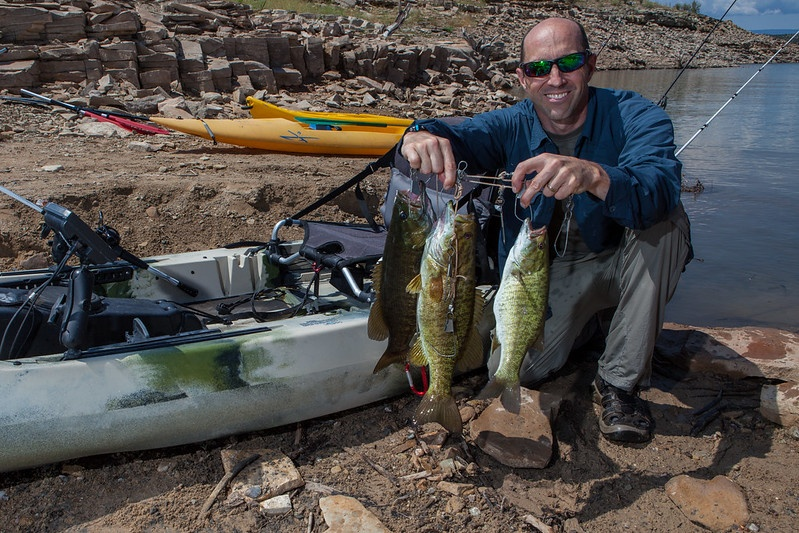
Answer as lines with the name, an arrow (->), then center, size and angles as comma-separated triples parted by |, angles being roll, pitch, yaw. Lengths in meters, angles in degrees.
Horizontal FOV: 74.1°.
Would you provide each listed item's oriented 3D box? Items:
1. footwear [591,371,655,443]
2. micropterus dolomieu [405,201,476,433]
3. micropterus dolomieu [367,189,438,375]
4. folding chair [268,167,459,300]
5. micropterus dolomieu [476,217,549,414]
footwear -> 1.393, 0.877, 3.329 | 0.310, 0.203, 0.568 | 3, 16, 8
micropterus dolomieu -> 0.234, 0.272, 2.537 | 0.383, 1.196, 0.285 | -4, 27, -11
micropterus dolomieu -> -0.004, 0.065, 2.666 | 0.424, 0.873, 0.301 | 13, 18, -4
folding chair -> -0.276, -0.475, 3.989 | 1.235, 0.439, 1.215 | 26, 32, 29
micropterus dolomieu -> 0.593, 0.248, 2.634 | 0.257, 0.999, 0.351 | 11, 28, 19
